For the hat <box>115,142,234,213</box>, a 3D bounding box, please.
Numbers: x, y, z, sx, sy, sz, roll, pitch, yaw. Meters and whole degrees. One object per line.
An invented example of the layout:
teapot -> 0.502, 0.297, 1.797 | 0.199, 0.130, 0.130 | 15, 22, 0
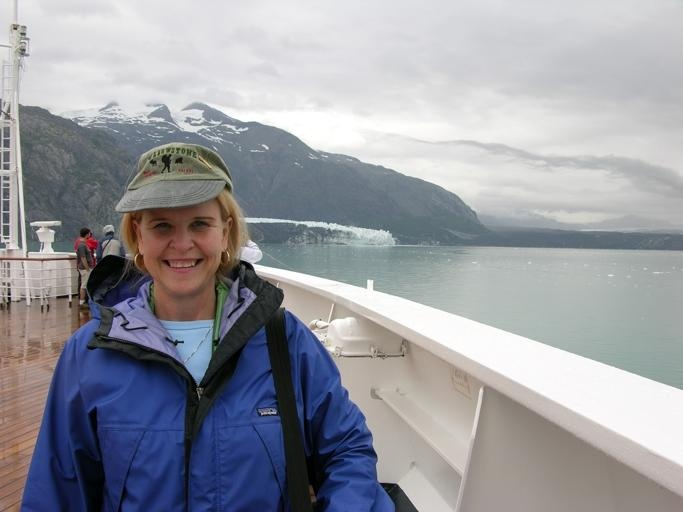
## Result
hat -> -0.537, -0.257, 1.728 | 0.220, 0.131, 0.324 | -1, 10, 10
